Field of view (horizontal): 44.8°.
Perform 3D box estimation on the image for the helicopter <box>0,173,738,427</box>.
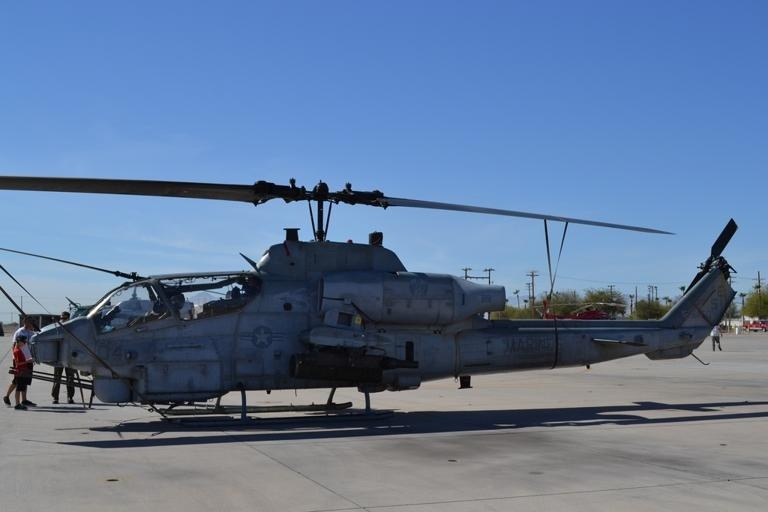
[{"bbox_3d":[-0.878,1.689,21.994,10.766,2.851,8.048,4,-8,-9],"label":"helicopter"}]
